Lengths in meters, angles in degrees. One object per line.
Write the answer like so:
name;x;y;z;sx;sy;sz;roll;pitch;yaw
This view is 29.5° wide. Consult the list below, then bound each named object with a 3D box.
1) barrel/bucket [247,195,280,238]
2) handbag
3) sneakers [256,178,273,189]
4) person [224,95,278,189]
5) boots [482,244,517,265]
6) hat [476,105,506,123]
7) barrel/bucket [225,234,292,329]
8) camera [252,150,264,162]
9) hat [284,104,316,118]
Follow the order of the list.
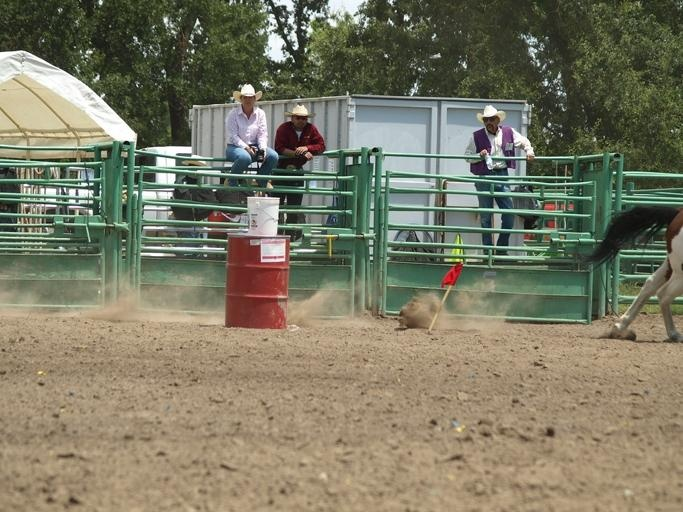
barrel/bucket;-1.241;-0.619;20.466;0.522;0.627;0.558;1;-1;0
handbag;-2.393;-1.041;23.210;1.277;0.690;0.816;3;-9;-5
sneakers;-1.306;-1.182;21.774;0.181;0.196;0.177;0;-1;0
person;-1.532;-2.036;22.019;0.873;1.735;1.265;1;4;-6
boots;2.713;0.003;22.349;0.180;0.310;0.688;-1;1;-15
hat;2.680;-2.536;23.442;0.441;0.230;0.527;-3;-7;18
barrel/bucket;-1.368;0.389;20.892;0.919;1.566;0.969;4;7;-1
camera;-1.417;-1.670;21.892;0.165;0.327;0.186;3;-1;2
hat;-0.737;-2.609;23.577;0.467;0.223;0.542;2;-7;-5
